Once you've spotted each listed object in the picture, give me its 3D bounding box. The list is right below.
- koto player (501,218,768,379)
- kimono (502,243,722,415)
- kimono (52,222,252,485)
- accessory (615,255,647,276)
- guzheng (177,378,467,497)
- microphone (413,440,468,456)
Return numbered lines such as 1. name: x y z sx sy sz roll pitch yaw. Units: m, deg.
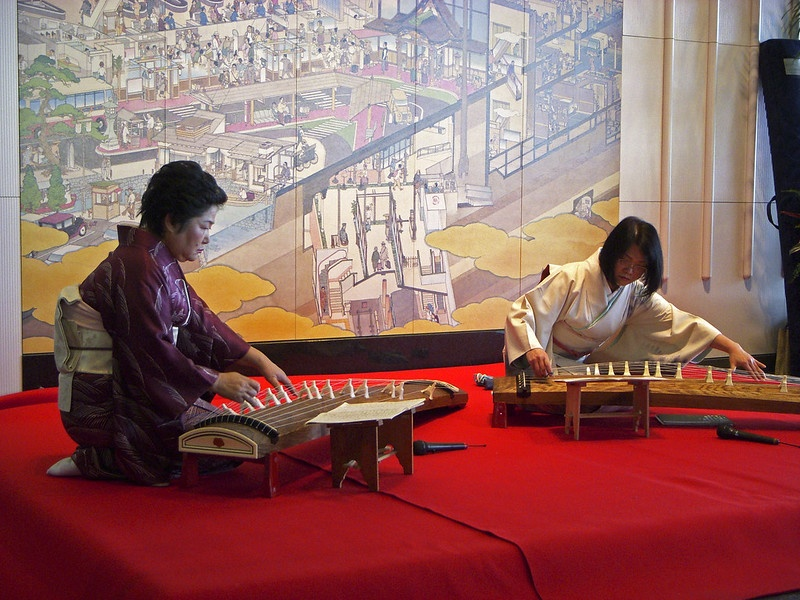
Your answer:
1. koto player: 1.270 0.054 4.562 1.310 0.945 1.046 1 14 -12
2. kimono: 1.257 0.205 4.666 1.307 0.954 1.027 4 12 -8
3. kimono: -1.111 0.180 4.071 1.190 1.523 0.797 -2 11 -19
4. accessory: 1.310 -0.197 4.307 0.162 0.114 0.078 -1 6 15
5. guzheng: -0.374 0.549 3.829 0.464 0.365 1.430 3 4 33
6. microphone: 0.227 0.736 3.824 0.333 0.089 0.091 0 3 -17
